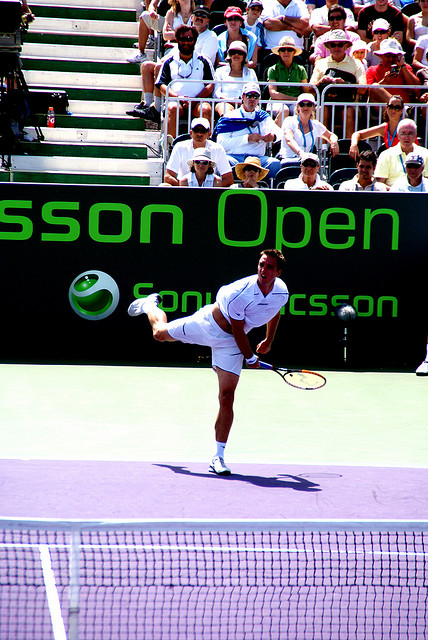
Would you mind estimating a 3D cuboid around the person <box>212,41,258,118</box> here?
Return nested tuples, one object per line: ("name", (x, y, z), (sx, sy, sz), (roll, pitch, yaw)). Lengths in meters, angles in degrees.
("person", (0.242, -2.742, 13.218), (0.537, 0.889, 0.728), (1, 9, 0))

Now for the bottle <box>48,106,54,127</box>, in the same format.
("bottle", (-1.913, -2.375, 13.593), (0.070, 0.219, 0.146), (-2, 14, -8))

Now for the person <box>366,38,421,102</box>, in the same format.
("person", (2.177, -3.112, 14.412), (0.644, 0.724, 2.411), (2, 14, 8))

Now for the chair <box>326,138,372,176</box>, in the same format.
("chair", (1.464, -1.808, 12.873), (0.365, 0.519, 0.436), (1, 5, 0))

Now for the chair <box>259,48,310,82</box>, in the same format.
("chair", (0.789, -3.060, 13.953), (0.547, 0.553, 0.425), (0, 45, 2))

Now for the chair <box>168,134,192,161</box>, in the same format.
("chair", (-0.359, -1.875, 12.484), (0.248, 0.312, 0.238), (11, 17, 29))

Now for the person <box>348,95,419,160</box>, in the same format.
("person", (1.908, -1.990, 12.727), (0.863, 0.869, 0.488), (4, 14, 21))

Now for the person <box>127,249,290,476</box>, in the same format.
("person", (0.034, 0.162, 8.251), (0.836, 1.495, 1.726), (-2, 14, -9))

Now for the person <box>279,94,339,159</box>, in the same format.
("person", (0.970, -1.993, 12.527), (0.616, 0.848, 0.681), (13, 15, 39))

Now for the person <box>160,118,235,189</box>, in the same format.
("person", (-0.202, -1.517, 11.967), (0.637, 1.094, 0.547), (-5, 8, -32))

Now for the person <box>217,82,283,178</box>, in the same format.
("person", (0.359, -1.961, 12.514), (0.747, 1.095, 0.584), (-1, 15, -15))

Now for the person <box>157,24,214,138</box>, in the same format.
("person", (-0.334, -2.595, 13.178), (0.704, 1.452, 0.822), (0, 16, -4))
